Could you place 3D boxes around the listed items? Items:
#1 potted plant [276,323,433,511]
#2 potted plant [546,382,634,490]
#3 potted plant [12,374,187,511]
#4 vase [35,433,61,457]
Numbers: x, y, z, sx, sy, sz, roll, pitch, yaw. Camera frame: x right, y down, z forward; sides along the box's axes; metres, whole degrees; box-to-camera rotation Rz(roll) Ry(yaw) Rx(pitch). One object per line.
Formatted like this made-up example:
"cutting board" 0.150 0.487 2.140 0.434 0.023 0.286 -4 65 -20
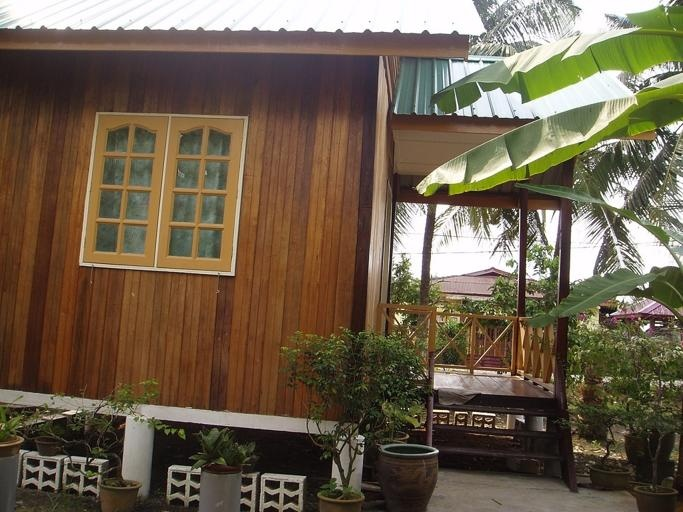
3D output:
"potted plant" 0.114 1.684 6.501 1.543 1.814 0.758 3 -6 -6
"potted plant" 3.625 2.433 8.675 0.946 1.603 1.143 -22 -28 33
"potted plant" -2.613 1.938 6.954 1.773 1.368 1.374 3 -12 -1
"vase" -3.295 2.179 6.961 0.271 0.147 0.284 5 -17 1
